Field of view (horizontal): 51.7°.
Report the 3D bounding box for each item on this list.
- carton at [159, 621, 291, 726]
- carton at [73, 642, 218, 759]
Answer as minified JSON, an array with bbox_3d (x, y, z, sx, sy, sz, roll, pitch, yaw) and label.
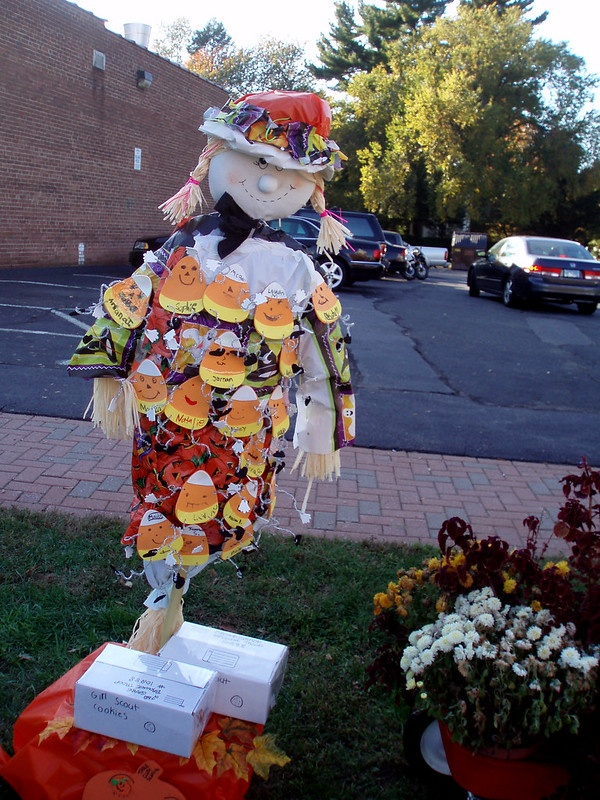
[{"bbox_3d":[-0.222,0.787,1.770,0.350,0.140,0.237,0,12,9],"label":"carton"},{"bbox_3d":[-0.387,0.763,1.592,0.333,0.125,0.229,8,10,19],"label":"carton"}]
